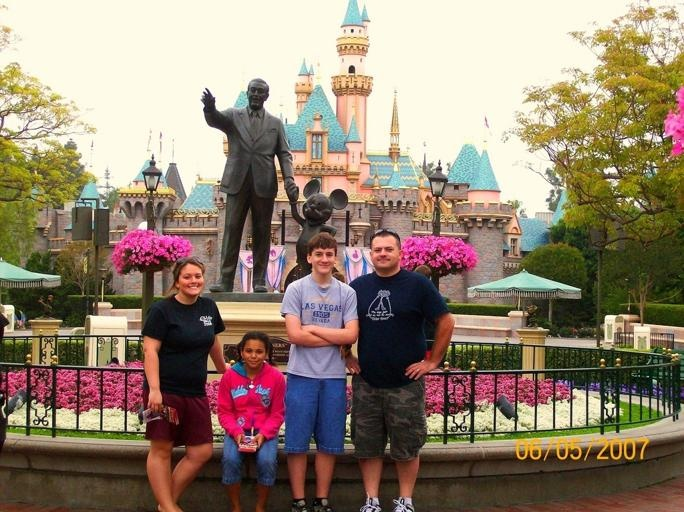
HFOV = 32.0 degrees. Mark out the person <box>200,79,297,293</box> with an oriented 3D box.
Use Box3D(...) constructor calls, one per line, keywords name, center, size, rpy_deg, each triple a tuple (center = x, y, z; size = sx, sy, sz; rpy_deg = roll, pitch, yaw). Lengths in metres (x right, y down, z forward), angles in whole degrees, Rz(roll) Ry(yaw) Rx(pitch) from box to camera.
Box3D(name="person", center=(-1.430, -1.053, 18.824), size=(1.293, 3.265, 1.173), rpy_deg=(1, -4, -3))
